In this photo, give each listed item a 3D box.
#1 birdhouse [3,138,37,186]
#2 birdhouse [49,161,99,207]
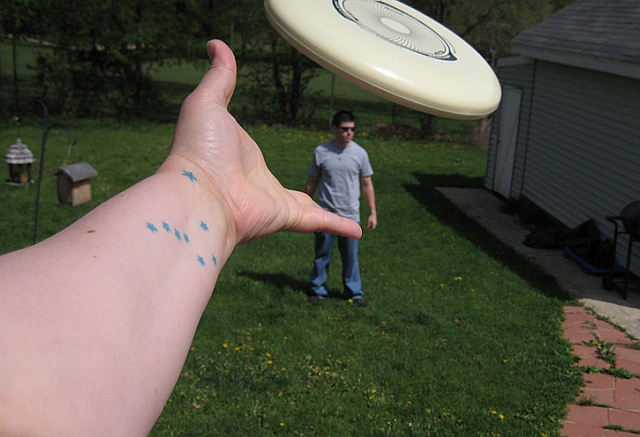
[{"bbox_3d":[-6.113,-1.077,13.048,0.611,1.005,0.697,4,16,11],"label":"birdhouse"},{"bbox_3d":[-5.060,-0.692,13.204,0.655,0.832,0.889,10,17,6],"label":"birdhouse"}]
